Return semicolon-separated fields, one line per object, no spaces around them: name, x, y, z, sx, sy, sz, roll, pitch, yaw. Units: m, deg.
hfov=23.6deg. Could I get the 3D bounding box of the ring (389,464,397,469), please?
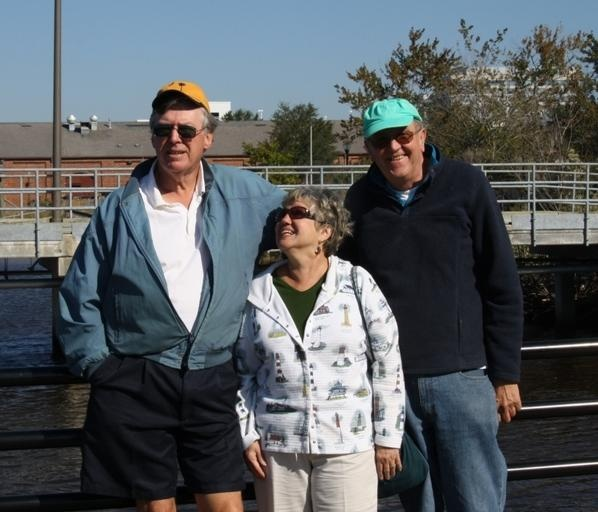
ring;0.943;2.114;14.261;0.052;0.017;0.038;17;-21;1
